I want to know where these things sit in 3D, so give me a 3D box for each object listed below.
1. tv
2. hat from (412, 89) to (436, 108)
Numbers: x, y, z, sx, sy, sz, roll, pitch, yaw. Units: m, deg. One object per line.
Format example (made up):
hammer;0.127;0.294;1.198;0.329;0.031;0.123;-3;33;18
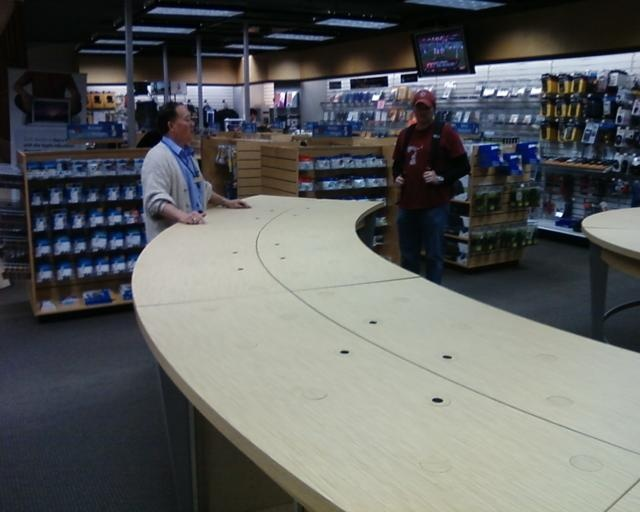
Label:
tv;2.359;-3.903;8.994;1.175;0.904;0.274;-4;18;46
hat;0.873;-1.331;4.018;0.180;0.157;0.219;-1;13;11
